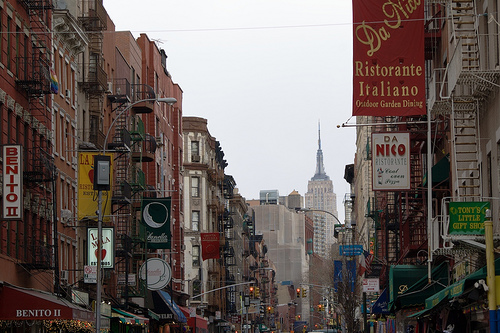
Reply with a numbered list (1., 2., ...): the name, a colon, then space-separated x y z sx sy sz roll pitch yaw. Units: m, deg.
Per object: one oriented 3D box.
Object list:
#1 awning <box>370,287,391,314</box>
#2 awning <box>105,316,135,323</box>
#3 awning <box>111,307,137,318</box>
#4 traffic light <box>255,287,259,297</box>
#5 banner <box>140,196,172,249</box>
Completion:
1. awning: 8.221 8.883 95.882 0.739 1.889 3.245 0 -23 -6
2. awning: -8.557 10.199 99.704 0.281 0.372 2.096 14 -4 37
3. awning: -8.594 10.029 102.490 0.248 0.321 2.006 22 -4 38
4. traffic light: 0.600 13.410 159.381 0.123 1.248 1.025 -3 -5 16
5. banner: -6.335 3.750 102.159 2.055 4.074 0.443 1 26 -1
